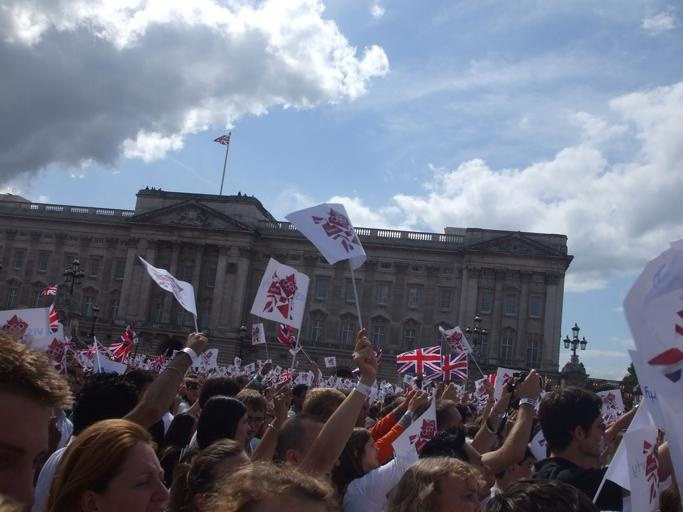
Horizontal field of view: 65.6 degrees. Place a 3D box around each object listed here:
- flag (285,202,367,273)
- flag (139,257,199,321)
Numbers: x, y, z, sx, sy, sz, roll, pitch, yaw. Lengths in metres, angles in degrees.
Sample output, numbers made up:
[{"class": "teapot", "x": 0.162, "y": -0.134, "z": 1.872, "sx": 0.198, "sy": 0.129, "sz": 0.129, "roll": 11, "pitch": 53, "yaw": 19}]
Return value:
[{"class": "flag", "x": -0.171, "y": -0.267, "z": 6.153, "sx": 1.022, "sy": 0.851, "sz": 0.696, "roll": 0, "pitch": -10, "yaw": 21}, {"class": "flag", "x": -13.462, "y": 2.783, "z": 40.515, "sx": 4.997, "sy": 0.916, "sz": 6.538, "roll": 47, "pitch": 10, "yaw": -19}]
